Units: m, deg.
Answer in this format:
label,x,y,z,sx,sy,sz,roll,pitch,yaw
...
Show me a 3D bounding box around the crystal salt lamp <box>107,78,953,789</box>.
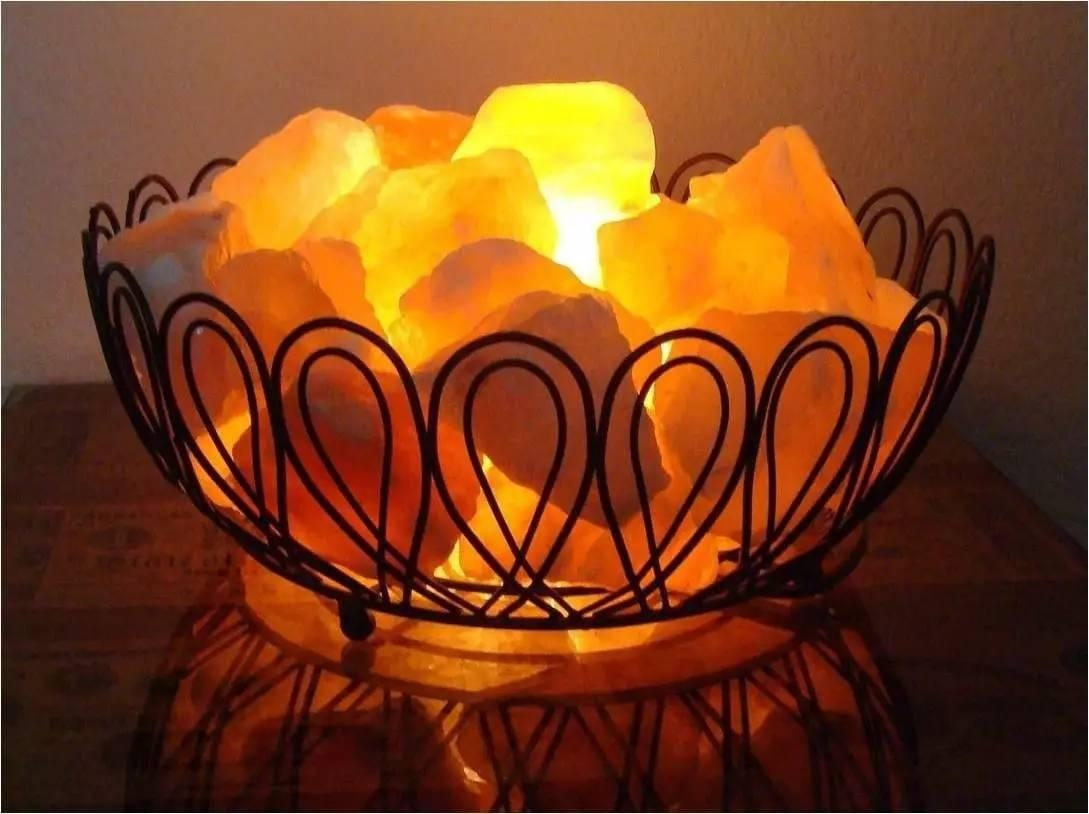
label,x,y,z,sx,sy,sz,roll,pitch,yaw
crystal salt lamp,-0.026,0.023,0.976,0.483,0.304,0.485,3,9,10
